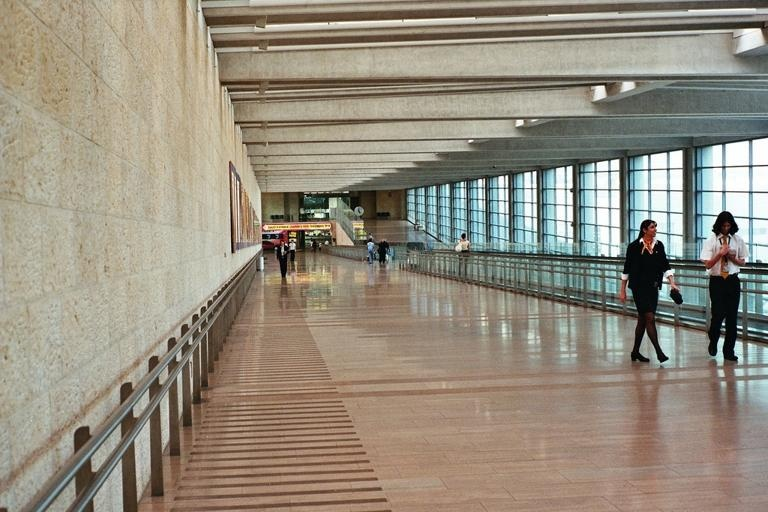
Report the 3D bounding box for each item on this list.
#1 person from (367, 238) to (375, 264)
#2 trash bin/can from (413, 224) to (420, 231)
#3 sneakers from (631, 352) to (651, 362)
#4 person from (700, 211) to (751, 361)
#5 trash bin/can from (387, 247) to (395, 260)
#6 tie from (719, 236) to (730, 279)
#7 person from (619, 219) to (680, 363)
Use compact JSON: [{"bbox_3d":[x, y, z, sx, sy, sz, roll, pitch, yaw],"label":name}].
[{"bbox_3d":[-0.860,-0.394,35.448,0.293,1.628,0.857,-2,2,-8],"label":"person"},{"bbox_3d":[3.273,-3.005,56.485,0.463,0.576,0.860,1,-5,-1],"label":"trash bin/can"},{"bbox_3d":[3.411,1.343,7.568,0.219,0.094,0.118,-7,-7,41],"label":"sneakers"},{"bbox_3d":[4.578,0.375,7.653,0.519,1.961,0.611,0,3,33],"label":"person"},{"bbox_3d":[0.524,-0.198,39.033,0.480,0.773,1.477,-2,2,0],"label":"trash bin/can"},{"bbox_3d":[4.503,0.003,7.533,0.089,0.555,0.147,1,3,44],"label":"tie"},{"bbox_3d":[3.539,0.452,7.591,0.700,1.878,0.629,0,3,29],"label":"person"}]
